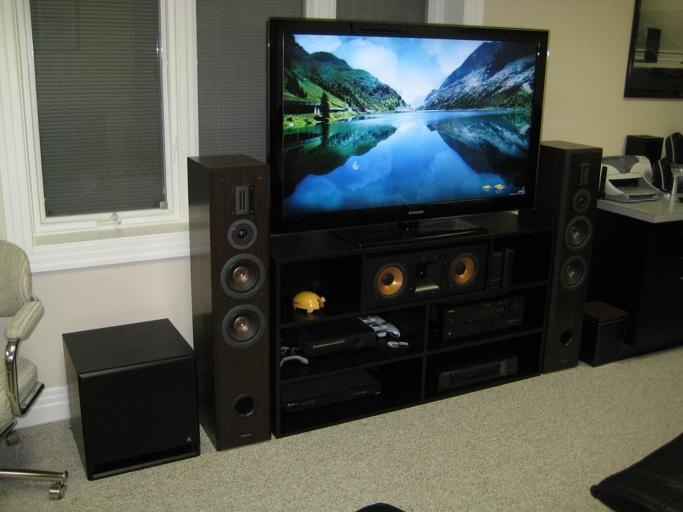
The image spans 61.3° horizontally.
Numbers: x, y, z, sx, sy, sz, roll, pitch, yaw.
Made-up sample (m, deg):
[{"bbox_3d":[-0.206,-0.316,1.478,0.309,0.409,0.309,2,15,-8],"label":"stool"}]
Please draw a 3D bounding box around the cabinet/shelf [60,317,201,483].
[{"bbox_3d":[-1.001,0.566,2.778,0.597,0.616,0.617,-9,26,-24],"label":"cabinet/shelf"}]

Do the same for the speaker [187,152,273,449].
[{"bbox_3d":[-0.533,0.214,2.782,0.430,1.344,0.419,-8,19,-16],"label":"speaker"}]

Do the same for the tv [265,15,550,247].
[{"bbox_3d":[0.298,-0.629,2.898,1.229,0.782,0.027,-7,20,-22],"label":"tv"}]

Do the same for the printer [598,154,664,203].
[{"bbox_3d":[1.835,-0.511,3.755,0.408,0.300,0.332,-7,16,-16],"label":"printer"}]
